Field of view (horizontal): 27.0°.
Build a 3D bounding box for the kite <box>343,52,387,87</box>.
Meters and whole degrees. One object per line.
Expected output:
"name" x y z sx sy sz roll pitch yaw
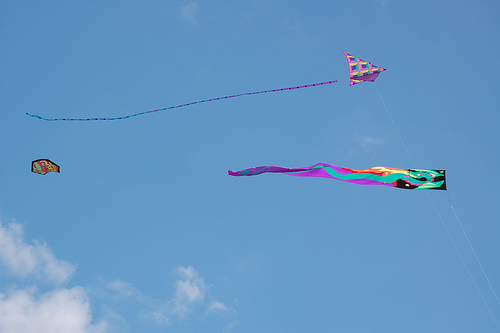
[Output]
"kite" 5.680 -5.039 53.922 1.857 1.200 0.998 8 -47 -2
